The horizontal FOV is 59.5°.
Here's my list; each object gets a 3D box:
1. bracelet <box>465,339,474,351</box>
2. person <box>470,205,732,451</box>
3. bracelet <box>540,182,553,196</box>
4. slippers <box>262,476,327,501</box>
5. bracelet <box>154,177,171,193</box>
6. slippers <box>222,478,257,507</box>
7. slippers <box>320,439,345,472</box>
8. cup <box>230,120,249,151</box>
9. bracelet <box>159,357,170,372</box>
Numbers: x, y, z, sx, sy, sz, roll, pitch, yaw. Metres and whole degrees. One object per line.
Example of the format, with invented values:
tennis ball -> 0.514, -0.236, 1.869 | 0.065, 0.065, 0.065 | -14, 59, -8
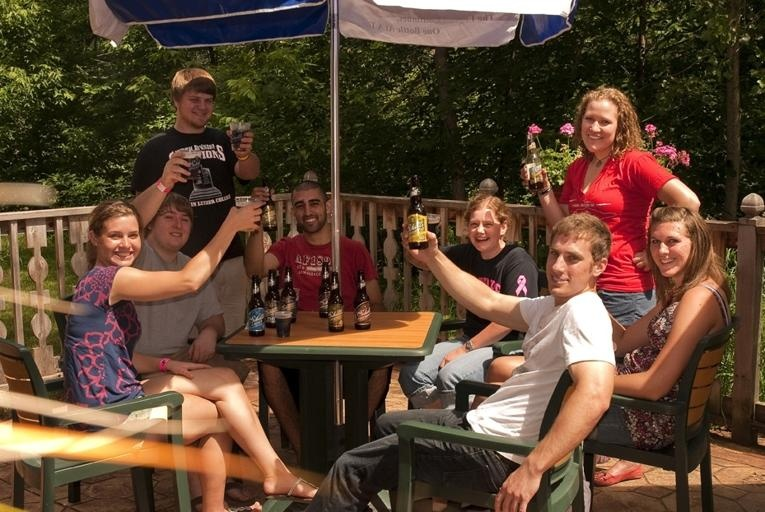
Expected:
bracelet -> 0.600, 0.623, 4.631 | 0.048, 0.074, 0.069 | 3, 2, 18
person -> 1.435, 0.298, 4.621 | 1.488, 1.925, 1.127 | 7, 8, 22
bracelet -> 1.182, -0.493, 4.914 | 0.096, 0.103, 0.098 | 3, 14, 31
slippers -> -0.500, 1.400, 4.053 | 0.463, 0.134, 0.180 | 0, 7, -1
bracelet -> -1.499, -0.483, 4.612 | 0.094, 0.036, 0.088 | 36, 11, -42
slippers -> -0.945, 1.563, 4.435 | 0.157, 0.049, 0.152 | 26, 4, -42
slippers -> -0.268, 1.221, 4.122 | 0.045, 0.170, 0.158 | 15, 18, 10
cup -> -0.930, -0.794, 4.384 | 0.123, 0.178, 0.252 | -3, 2, -12
bracelet -> -1.339, 0.670, 4.125 | 0.060, 0.091, 0.085 | -2, 0, 4
